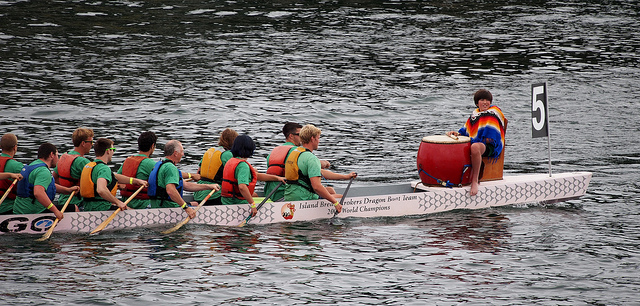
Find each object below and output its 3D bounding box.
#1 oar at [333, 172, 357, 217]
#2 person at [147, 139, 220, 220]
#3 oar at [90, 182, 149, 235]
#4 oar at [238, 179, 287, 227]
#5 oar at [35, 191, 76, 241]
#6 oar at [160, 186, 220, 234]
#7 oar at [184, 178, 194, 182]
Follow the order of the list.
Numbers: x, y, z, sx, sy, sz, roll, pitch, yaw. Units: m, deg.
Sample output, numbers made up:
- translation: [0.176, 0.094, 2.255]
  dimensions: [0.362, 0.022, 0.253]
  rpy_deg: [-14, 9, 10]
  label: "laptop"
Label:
- translation: [0.913, 1.612, 30.654]
  dimensions: [0.851, 1.269, 0.737]
  rpy_deg: [1, 2, 12]
  label: "oar"
- translation: [-5.502, 1.016, 29.467]
  dimensions: [1.629, 2.903, 0.662]
  rpy_deg: [-1, 5, -10]
  label: "person"
- translation: [-7.392, 2.062, 29.363]
  dimensions: [3.053, 0.206, 0.352]
  rpy_deg: [-34, 27, -13]
  label: "oar"
- translation: [-2.155, 1.909, 30.066]
  dimensions: [2.930, 0.314, 0.353]
  rpy_deg: [-35, 11, -21]
  label: "oar"
- translation: [-9.574, 2.272, 29.064]
  dimensions: [1.357, 1.733, 0.401]
  rpy_deg: [-4, 6, -37]
  label: "oar"
- translation: [-4.839, 2.139, 29.687]
  dimensions: [3.409, 0.198, 0.445]
  rpy_deg: [-26, 19, -12]
  label: "oar"
- translation: [-5.264, 1.092, 32.124]
  dimensions: [0.161, 0.104, 1.185]
  rpy_deg: [-1, -2, -1]
  label: "oar"
